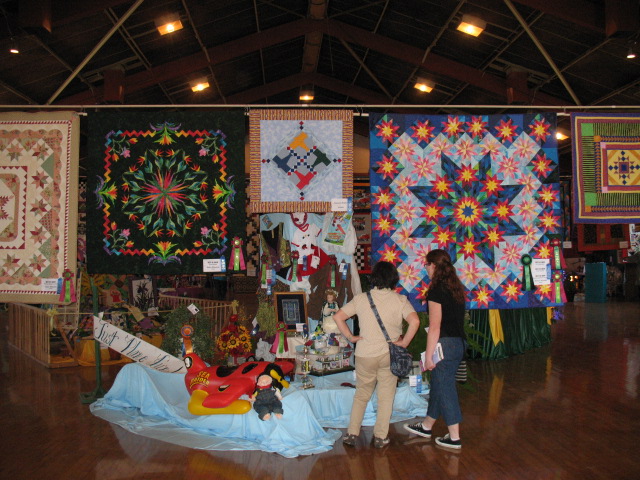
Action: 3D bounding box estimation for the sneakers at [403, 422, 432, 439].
[{"bbox_3d":[1.098,2.096,6.388,0.337,0.165,0.130,18,-5,19],"label":"sneakers"}]

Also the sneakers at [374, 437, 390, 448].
[{"bbox_3d":[0.675,2.146,6.120,0.078,0.084,0.186,1,2,42],"label":"sneakers"}]

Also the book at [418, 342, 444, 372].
[{"bbox_3d":[1.160,1.182,5.898,0.078,0.265,0.252,30,-31,-22],"label":"book"}]

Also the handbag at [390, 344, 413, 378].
[{"bbox_3d":[0.841,1.263,5.953,0.219,0.398,0.178,0,5,4],"label":"handbag"}]

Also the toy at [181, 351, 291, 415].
[{"bbox_3d":[-0.978,1.523,6.597,1.243,0.596,0.980,-9,13,12],"label":"toy"}]

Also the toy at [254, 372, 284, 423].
[{"bbox_3d":[-0.555,1.687,6.131,0.314,0.464,0.158,-3,-7,3],"label":"toy"}]

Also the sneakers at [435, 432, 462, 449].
[{"bbox_3d":[1.373,2.138,6.076,0.125,0.124,0.269,4,-3,-39],"label":"sneakers"}]

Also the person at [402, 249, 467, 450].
[{"bbox_3d":[1.301,1.162,6.121,0.537,2.082,0.517,4,7,40],"label":"person"}]

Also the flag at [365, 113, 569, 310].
[{"bbox_3d":[1.773,-0.326,6.965,2.180,2.406,0.034,-1,-1,0],"label":"flag"}]

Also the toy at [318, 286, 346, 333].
[{"bbox_3d":[0.149,0.919,7.171,0.270,0.627,0.222,-3,11,1],"label":"toy"}]
